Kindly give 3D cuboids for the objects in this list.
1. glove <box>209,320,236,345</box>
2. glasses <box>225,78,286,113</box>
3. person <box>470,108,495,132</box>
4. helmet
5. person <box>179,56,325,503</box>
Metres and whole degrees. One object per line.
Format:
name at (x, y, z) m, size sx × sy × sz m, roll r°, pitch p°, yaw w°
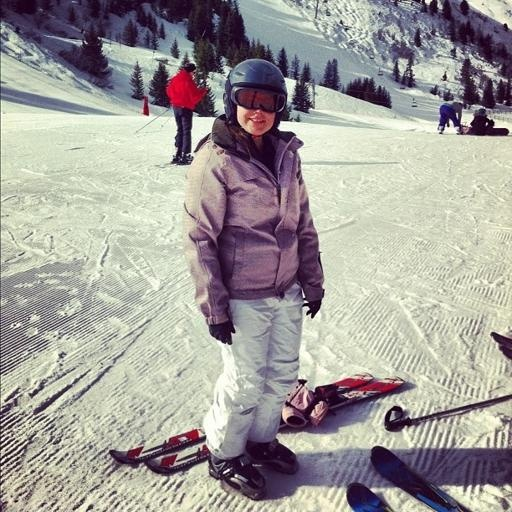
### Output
glove at (-0.139, 0.327, 1.964) m, size 0.123 × 0.036 × 0.083 m, roll 10°, pitch -16°, yaw 17°
glasses at (-0.005, -0.705, 2.038) m, size 0.282 × 0.132 × 0.174 m, roll 4°, pitch 16°, yaw 0°
person at (7.067, -4.179, 14.466) m, size 0.762 × 0.717 × 0.303 m, roll 1°, pitch -1°, yaw -43°
helmet at (0.003, -0.763, 2.128) m, size 0.274 × 0.243 × 0.291 m, roll 5°, pitch 4°, yaw -9°
person at (0.009, 0.116, 2.148) m, size 0.668 × 1.972 × 0.616 m, roll 13°, pitch 20°, yaw 22°
